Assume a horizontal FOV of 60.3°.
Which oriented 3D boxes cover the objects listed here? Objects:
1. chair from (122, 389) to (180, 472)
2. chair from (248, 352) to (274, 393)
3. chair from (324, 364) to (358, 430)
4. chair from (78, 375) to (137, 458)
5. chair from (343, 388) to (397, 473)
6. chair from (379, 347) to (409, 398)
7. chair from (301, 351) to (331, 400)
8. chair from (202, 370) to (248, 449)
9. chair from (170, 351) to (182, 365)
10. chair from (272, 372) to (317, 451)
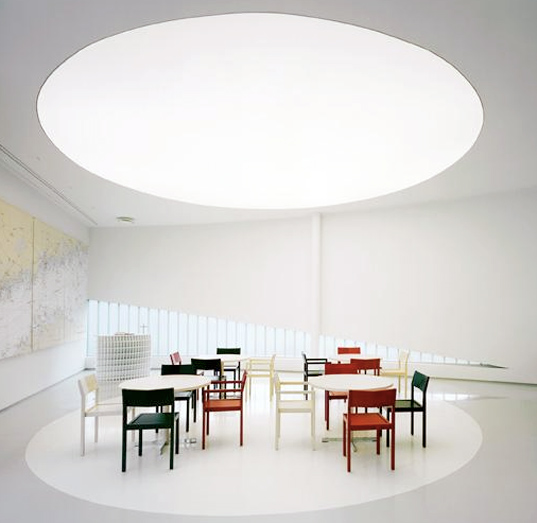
[{"bbox_3d":[-1.351,1.863,5.364,0.520,1.031,0.676,0,3,4],"label":"chair"},{"bbox_3d":[-0.164,2.490,10.286,0.582,0.943,0.683,3,-4,-23],"label":"chair"},{"bbox_3d":[0.989,2.058,6.783,0.374,0.709,0.384,22,-10,-19],"label":"chair"},{"bbox_3d":[-2.173,2.100,6.185,0.454,1.009,0.853,0,-2,-4],"label":"chair"},{"bbox_3d":[1.125,1.864,5.309,0.516,0.997,0.617,-1,1,-13],"label":"chair"},{"bbox_3d":[2.345,2.122,8.643,0.395,0.865,0.429,0,-1,11],"label":"chair"},{"bbox_3d":[0.874,2.059,8.452,0.427,0.762,0.490,0,-5,-10],"label":"chair"},{"bbox_3d":[-0.611,2.057,6.450,0.495,0.969,0.755,0,-6,-11],"label":"chair"},{"bbox_3d":[-1.613,1.686,8.036,0.167,0.203,0.654,0,-2,-14],"label":"chair"},{"bbox_3d":[0.358,2.025,6.284,0.427,0.874,0.594,-1,-8,1],"label":"chair"}]
